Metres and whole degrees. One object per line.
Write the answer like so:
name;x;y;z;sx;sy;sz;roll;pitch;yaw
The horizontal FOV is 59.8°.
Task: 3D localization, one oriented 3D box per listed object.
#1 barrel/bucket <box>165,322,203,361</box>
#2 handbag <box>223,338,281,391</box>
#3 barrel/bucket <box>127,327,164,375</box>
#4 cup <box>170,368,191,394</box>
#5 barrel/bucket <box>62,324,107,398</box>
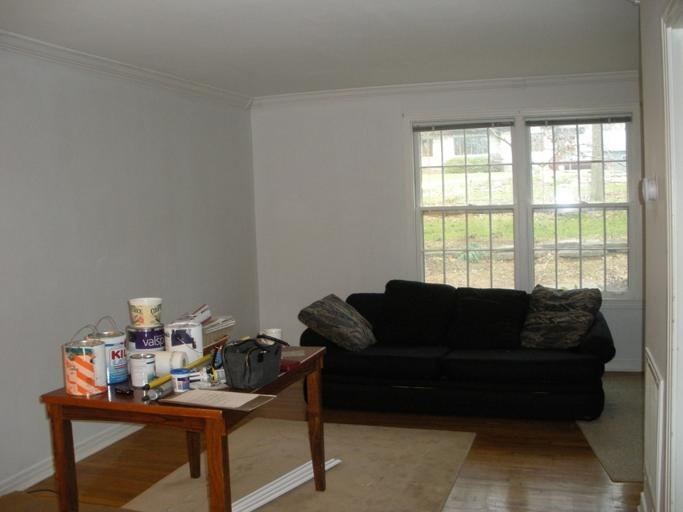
barrel/bucket;-0.805;0.460;3.191;0.210;0.194;0.195;0;-14;0
handbag;-0.449;0.541;3.134;0.233;0.250;0.364;-3;0;22
barrel/bucket;-1.017;0.470;3.084;0.166;0.153;0.162;-1;-4;0
cup;-0.801;0.623;2.965;0.110;0.108;0.108;0;-3;0
barrel/bucket;-1.266;0.553;2.949;0.197;0.267;0.125;-7;10;-23
